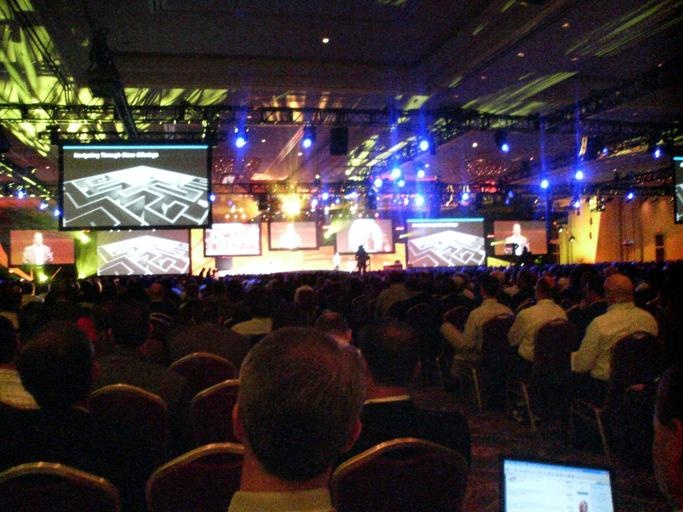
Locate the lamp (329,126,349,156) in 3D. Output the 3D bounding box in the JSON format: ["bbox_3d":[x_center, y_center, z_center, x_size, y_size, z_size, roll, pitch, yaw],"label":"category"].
[{"bbox_3d":[-0.054,-2.700,13.630,0.403,0.611,1.033,-3,9,-2],"label":"lamp"}]

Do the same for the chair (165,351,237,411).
[{"bbox_3d":[-1.263,1.079,5.192,0.433,0.586,0.445,0,10,-18],"label":"chair"}]

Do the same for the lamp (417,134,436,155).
[{"bbox_3d":[2.122,-2.757,14.368,0.365,0.590,0.554,1,16,8],"label":"lamp"}]
